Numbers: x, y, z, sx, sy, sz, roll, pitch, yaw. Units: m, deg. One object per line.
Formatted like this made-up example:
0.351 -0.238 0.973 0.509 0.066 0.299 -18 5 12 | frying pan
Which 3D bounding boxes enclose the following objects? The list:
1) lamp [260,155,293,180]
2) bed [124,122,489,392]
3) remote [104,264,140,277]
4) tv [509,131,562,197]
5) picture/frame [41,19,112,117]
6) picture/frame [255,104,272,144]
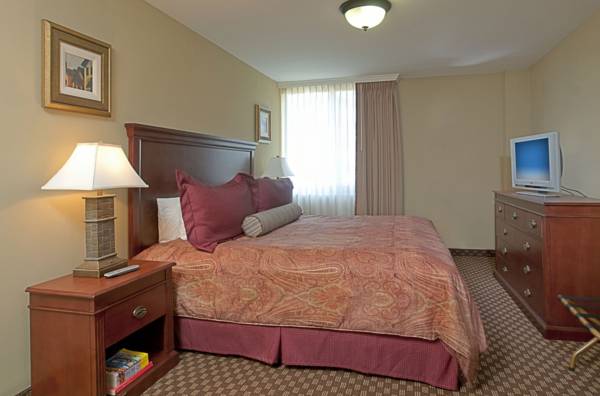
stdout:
-0.324 -0.430 5.679 0.371 0.501 0.333 -2 2 -34 | lamp
0.200 0.710 3.874 2.346 1.658 2.514 0 4 11 | bed
-1.419 0.548 3.030 0.078 0.056 0.259 3 6 18 | remote
2.665 -0.387 4.202 0.210 0.632 0.614 -7 5 -11 | tv
-1.938 -1.107 3.287 0.065 0.750 0.592 1 7 34 | picture/frame
-0.579 -1.155 5.893 0.071 0.772 0.722 0 1 17 | picture/frame
